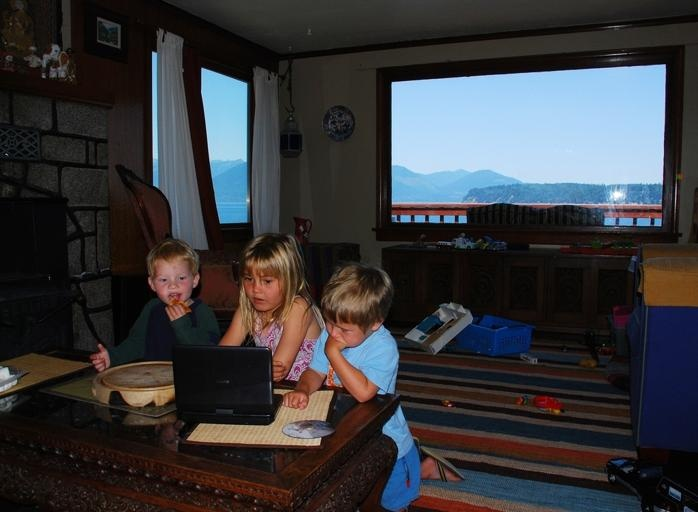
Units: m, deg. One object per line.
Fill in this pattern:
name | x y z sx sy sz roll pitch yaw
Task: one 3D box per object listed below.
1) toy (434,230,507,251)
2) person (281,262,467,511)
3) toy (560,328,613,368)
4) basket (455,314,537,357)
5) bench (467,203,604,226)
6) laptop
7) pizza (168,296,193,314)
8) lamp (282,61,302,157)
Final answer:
toy | 1.309 -0.126 5.419 0.501 0.127 0.308 -2 -1 26
person | 0.059 0.314 2.120 0.927 1.033 0.454 -18 23 -37
toy | 2.095 0.831 4.573 0.366 0.100 0.404 -2 5 22
basket | 1.232 0.654 4.611 0.383 0.184 0.498 -1 -1 -29
bench | 2.056 -0.472 5.811 1.418 0.231 0.278 1 8 11
laptop | -0.376 0.399 1.609 0.286 0.243 0.235 1 7 5
pizza | -0.735 0.208 2.261 0.071 0.039 0.088 3 24 -17
lamp | -0.687 -1.774 6.232 0.262 1.167 0.443 -1 7 -4
